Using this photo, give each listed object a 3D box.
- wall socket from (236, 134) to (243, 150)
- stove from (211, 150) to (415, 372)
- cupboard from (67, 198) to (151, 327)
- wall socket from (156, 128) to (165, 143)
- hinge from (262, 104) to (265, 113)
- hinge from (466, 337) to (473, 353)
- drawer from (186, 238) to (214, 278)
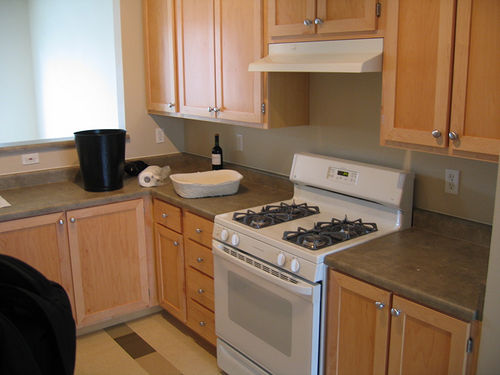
[{"bbox_3d":[-0.090,-0.376,3.392,0.006,0.133,0.082,-16,22,-42],"label":"wall socket"},{"bbox_3d":[0.286,0.368,2.647,1.265,1.277,1.082,-10,15,-41],"label":"stove"},{"bbox_3d":[-1.033,0.554,2.987,0.545,0.869,0.425,-11,21,-37],"label":"cupboard"},{"bbox_3d":[-0.847,-0.490,3.797,0.117,0.160,0.016,-15,25,-42],"label":"wall socket"},{"bbox_3d":[0.085,-0.507,2.603,0.010,0.040,0.026,-6,6,-43],"label":"hinge"},{"bbox_3d":[0.847,0.612,1.565,0.025,0.061,0.010,-4,16,-10],"label":"hinge"},{"bbox_3d":[-0.328,0.467,2.686,0.151,0.231,0.176,-10,20,-34],"label":"drawer"}]
